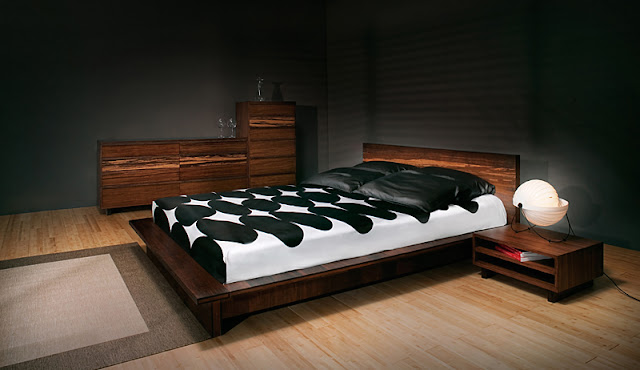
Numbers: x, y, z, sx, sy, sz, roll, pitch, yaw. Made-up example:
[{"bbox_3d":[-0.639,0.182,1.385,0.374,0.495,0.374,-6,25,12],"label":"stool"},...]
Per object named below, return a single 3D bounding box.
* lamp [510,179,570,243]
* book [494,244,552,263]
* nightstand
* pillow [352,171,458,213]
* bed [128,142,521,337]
[{"bbox_3d":[2.110,0.240,3.705,0.660,0.599,0.654,-3,2,-29],"label":"lamp"},{"bbox_3d":[1.916,0.633,3.422,0.240,0.049,0.230,-2,6,-24],"label":"book"},{"bbox_3d":[2.140,0.716,3.637,0.778,0.344,0.870,-7,9,-23],"label":"nightstand"},{"bbox_3d":[1.061,0.030,4.006,0.603,0.134,0.639,-18,22,-41],"label":"pillow"},{"bbox_3d":[0.334,0.578,3.808,3.204,0.956,2.426,-4,9,-28],"label":"bed"}]
